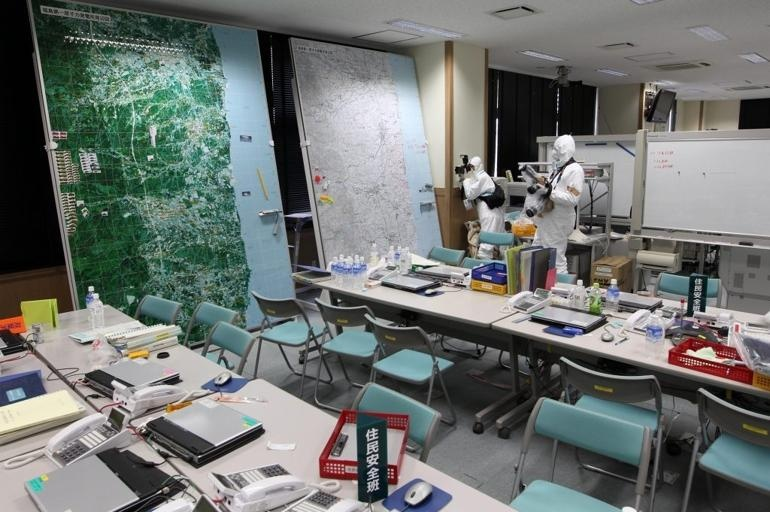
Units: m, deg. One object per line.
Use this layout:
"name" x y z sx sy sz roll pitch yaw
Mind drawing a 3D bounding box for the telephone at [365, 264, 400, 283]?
"telephone" -0.026 0.198 5.235 0.152 0.053 0.311 15 21 24

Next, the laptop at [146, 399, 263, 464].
"laptop" -1.056 1.023 2.809 0.359 0.071 0.363 16 17 37

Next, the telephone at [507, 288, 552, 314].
"telephone" 1.315 0.402 4.271 0.279 0.095 0.211 -20 22 -36

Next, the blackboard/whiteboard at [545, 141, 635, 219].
"blackboard/whiteboard" 3.071 -1.103 6.914 1.282 1.147 0.495 9 16 39

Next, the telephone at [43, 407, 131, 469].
"telephone" -1.711 1.061 2.727 0.249 0.147 0.360 13 15 42

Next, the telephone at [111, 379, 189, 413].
"telephone" -1.538 0.860 3.069 0.203 0.135 0.340 12 16 42

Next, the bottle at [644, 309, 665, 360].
"bottle" 2.011 0.565 3.491 0.127 0.273 0.366 5 16 31

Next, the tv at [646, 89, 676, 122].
"tv" 5.296 -2.880 9.049 0.349 0.608 0.893 7 17 37

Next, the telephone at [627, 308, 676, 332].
"telephone" 2.132 0.454 3.803 0.338 0.084 0.232 -13 14 -37

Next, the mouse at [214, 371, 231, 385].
"mouse" -1.123 0.841 3.256 0.066 0.029 0.090 -8 9 5

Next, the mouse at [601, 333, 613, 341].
"mouse" 1.720 0.626 3.635 0.092 0.035 0.096 0 14 15
